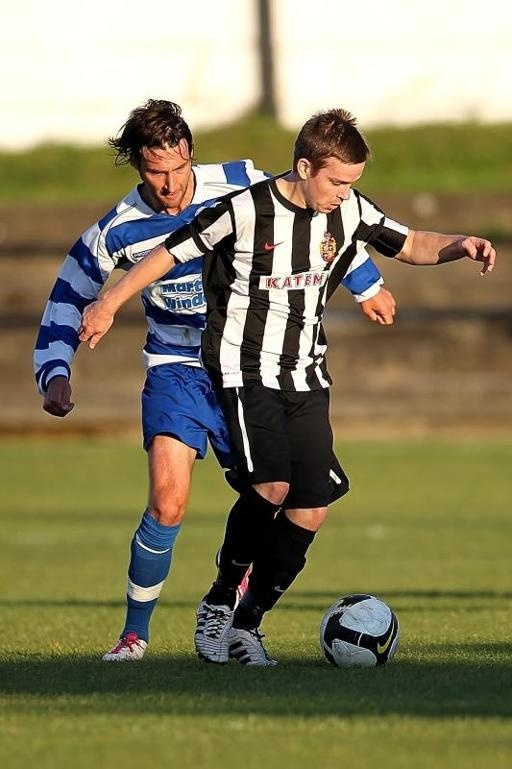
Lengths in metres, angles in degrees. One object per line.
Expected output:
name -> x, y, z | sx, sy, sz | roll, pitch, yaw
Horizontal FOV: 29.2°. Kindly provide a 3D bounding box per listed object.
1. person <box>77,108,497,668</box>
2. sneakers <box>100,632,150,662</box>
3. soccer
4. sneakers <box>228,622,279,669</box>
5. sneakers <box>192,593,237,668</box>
person -> 0.093, 0.045, 2.982 | 0.926, 1.633, 0.771 | -2, -4, 24
sneakers -> -0.403, 0.810, 3.016 | 0.058, 0.052, 0.137 | 18, 12, 26
soccer -> 0.312, 0.752, 2.998 | 0.226, 0.178, 0.195 | 5, -5, -18
sneakers -> -0.015, 0.811, 3.026 | 0.200, 0.086, 0.067 | 27, 12, 30
sneakers -> -0.132, 0.765, 3.041 | 0.084, 0.092, 0.211 | 8, 29, -16
